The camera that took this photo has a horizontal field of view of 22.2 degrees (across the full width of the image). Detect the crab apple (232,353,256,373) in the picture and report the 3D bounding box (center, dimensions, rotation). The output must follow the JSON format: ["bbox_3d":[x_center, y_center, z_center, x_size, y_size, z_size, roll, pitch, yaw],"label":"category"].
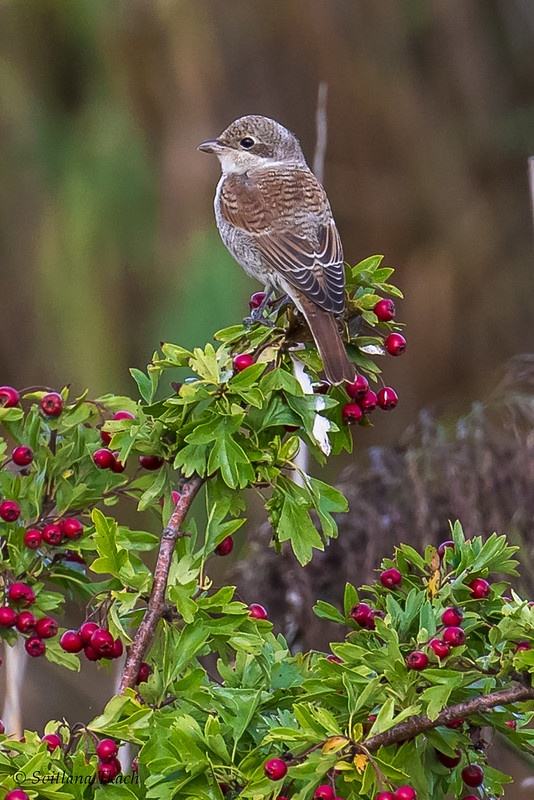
[{"bbox_3d":[-0.037,-0.057,2.057,0.027,0.031,0.027,30,4,3],"label":"crab apple"}]

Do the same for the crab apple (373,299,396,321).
[{"bbox_3d":[0.187,-0.142,2.152,0.033,0.039,0.034,-3,-5,0],"label":"crab apple"}]

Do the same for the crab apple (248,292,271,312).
[{"bbox_3d":[-0.013,-0.177,2.451,0.034,0.023,0.048,-17,3,0],"label":"crab apple"}]

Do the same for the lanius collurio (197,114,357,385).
[{"bbox_3d":[0.057,-0.348,2.912,0.231,0.381,0.639,-5,31,-26],"label":"lanius collurio"}]

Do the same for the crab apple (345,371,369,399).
[{"bbox_3d":[0.138,-0.025,2.189,0.028,0.042,0.060,2,-1,-11],"label":"crab apple"}]
